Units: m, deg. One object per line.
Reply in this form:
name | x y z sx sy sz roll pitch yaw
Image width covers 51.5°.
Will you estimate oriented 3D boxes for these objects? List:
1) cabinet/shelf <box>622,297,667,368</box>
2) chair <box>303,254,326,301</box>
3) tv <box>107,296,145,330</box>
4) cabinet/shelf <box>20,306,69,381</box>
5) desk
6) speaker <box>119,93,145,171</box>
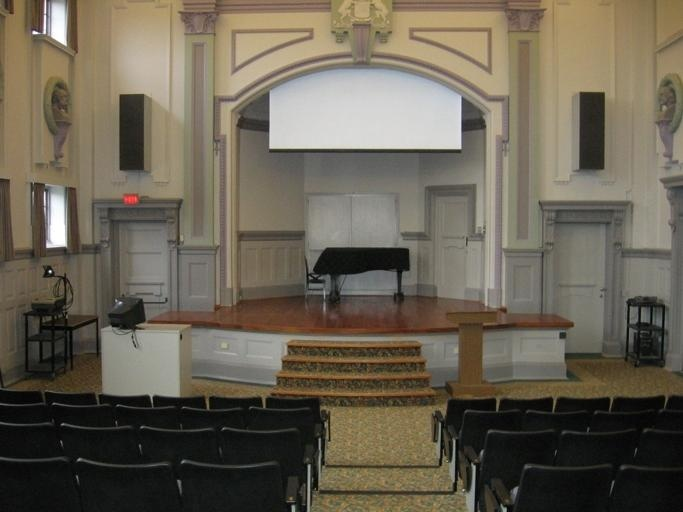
cabinet/shelf | 4.999 1.247 11.562 0.647 1.007 0.681 2 2 31
chair | -0.490 0.427 13.614 0.498 0.729 0.494 5 3 32
tv | -2.865 0.752 9.541 0.481 0.523 0.389 2 2 16
cabinet/shelf | -4.565 1.326 11.064 0.609 1.029 1.066 0 1 1
desk | -4.359 1.238 11.353 0.661 1.009 1.034 1 3 11
speaker | -3.471 -2.045 11.654 0.413 1.214 0.232 -1 2 -14
